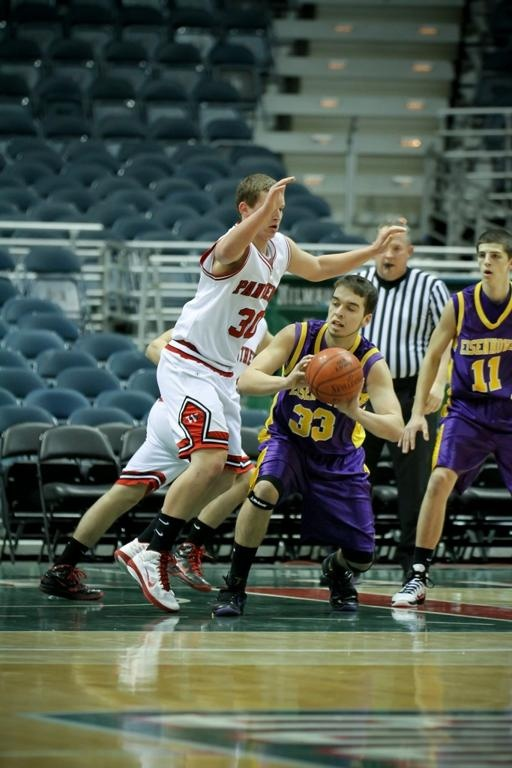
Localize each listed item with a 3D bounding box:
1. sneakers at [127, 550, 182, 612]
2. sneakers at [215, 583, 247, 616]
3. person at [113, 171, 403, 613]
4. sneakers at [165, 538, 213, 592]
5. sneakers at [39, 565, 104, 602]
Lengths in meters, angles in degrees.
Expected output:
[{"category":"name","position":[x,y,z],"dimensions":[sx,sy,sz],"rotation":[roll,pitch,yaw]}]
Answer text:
[{"category":"sneakers","position":[-0.361,0.716,3.020],"dimensions":[0.123,0.246,0.226],"rotation":[6,7,39]},{"category":"sneakers","position":[-0.087,0.789,3.031],"dimensions":[0.116,0.110,0.285],"rotation":[0,-14,3]},{"category":"person","position":[-0.140,0.016,3.129],"dimensions":[0.643,1.636,0.758],"rotation":[3,5,6]},{"category":"sneakers","position":[-0.266,0.776,3.528],"dimensions":[0.257,0.161,0.088],"rotation":[21,0,40]},{"category":"sneakers","position":[-0.699,0.803,3.386],"dimensions":[0.327,0.165,0.117],"rotation":[7,8,-23]}]
